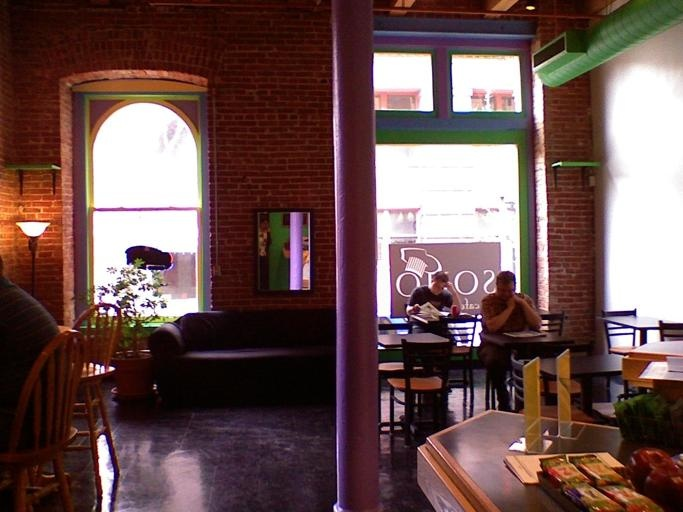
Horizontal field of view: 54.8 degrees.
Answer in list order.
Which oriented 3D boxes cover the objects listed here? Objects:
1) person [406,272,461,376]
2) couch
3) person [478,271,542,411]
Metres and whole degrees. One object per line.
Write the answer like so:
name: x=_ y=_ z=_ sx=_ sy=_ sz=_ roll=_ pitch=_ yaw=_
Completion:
person: x=1.158 y=0.606 z=8.271 sx=0.682 sy=0.787 sz=0.647 roll=12 pitch=6 yaw=31
couch: x=-0.815 y=1.145 z=7.857 sx=2.789 sy=0.981 sz=0.903 roll=0 pitch=-1 yaw=-14
person: x=1.876 y=0.908 z=7.191 sx=0.875 sy=1.403 sz=0.849 roll=2 pitch=5 yaw=44
